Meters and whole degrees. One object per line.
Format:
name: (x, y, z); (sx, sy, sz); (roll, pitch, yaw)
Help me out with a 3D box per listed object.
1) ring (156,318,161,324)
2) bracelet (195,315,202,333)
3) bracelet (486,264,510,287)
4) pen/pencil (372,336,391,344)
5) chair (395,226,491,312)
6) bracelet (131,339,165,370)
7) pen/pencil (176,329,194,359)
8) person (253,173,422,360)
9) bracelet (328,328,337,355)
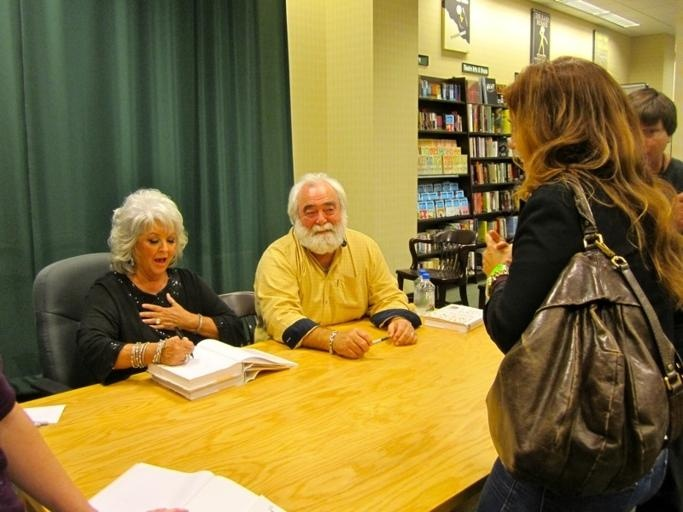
ring: (-0.840, 0.296, 2.281); (0.018, 0.021, 0.008); (-5, 6, -17)
bracelet: (-0.667, 0.317, 2.358); (0.041, 0.058, 0.021); (-11, -24, 38)
bracelet: (0.473, 0.056, 1.489); (0.069, 0.029, 0.065); (-52, 29, -10)
pen/pencil: (0.192, 0.393, 2.344); (0.156, 0.016, 0.017); (-8, -2, -44)
chair: (0.958, 0.192, 5.037); (0.730, 0.926, 0.783); (4, 9, 18)
bracelet: (-0.762, 0.382, 1.959); (0.126, 0.069, 0.108); (0, -6, 9)
pen/pencil: (-0.635, 0.357, 2.022); (0.029, 0.110, 0.021); (-23, -7, -8)
person: (-0.042, 0.020, 2.607); (0.827, 0.887, 1.064); (-4, 17, -7)
bracelet: (-0.038, 0.380, 2.198); (0.022, 0.072, 0.060); (5, 0, -2)
